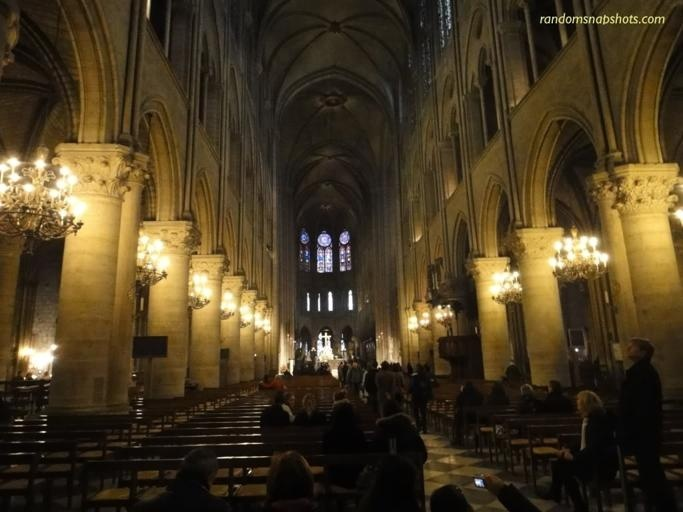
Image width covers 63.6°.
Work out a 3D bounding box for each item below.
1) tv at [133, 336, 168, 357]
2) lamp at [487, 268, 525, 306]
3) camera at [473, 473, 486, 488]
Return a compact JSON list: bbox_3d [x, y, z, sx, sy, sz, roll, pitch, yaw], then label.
[{"bbox_3d":[-4.416,2.092,12.704,0.599,0.414,0.063,-1,-7,2],"label":"tv"},{"bbox_3d":[5.598,0.959,18.861,0.803,1.364,1.375,-4,-15,6],"label":"lamp"},{"bbox_3d":[1.367,2.231,5.444,0.093,0.133,0.318,-5,-15,9],"label":"camera"}]
